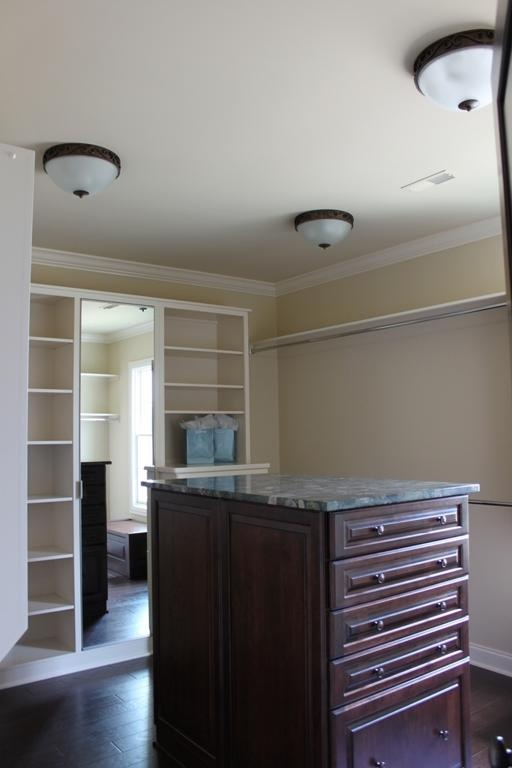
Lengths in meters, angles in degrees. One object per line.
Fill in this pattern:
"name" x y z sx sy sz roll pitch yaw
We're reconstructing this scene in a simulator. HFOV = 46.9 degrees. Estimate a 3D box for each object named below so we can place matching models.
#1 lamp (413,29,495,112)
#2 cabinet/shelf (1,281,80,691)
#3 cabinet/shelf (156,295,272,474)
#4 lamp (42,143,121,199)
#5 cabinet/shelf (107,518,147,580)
"lamp" 0.615 -0.920 1.740 0.267 0.131 0.217 -3 -6 -8
"cabinet/shelf" -1.210 0.488 3.332 0.385 2.058 0.345 -9 -8 44
"cabinet/shelf" -0.392 0.020 4.117 0.848 1.094 0.376 2 -8 -40
"lamp" -0.706 -0.823 2.393 0.286 0.183 0.304 -1 1 -6
"cabinet/shelf" -0.768 0.958 3.472 0.198 0.274 0.364 0 -1 -34
